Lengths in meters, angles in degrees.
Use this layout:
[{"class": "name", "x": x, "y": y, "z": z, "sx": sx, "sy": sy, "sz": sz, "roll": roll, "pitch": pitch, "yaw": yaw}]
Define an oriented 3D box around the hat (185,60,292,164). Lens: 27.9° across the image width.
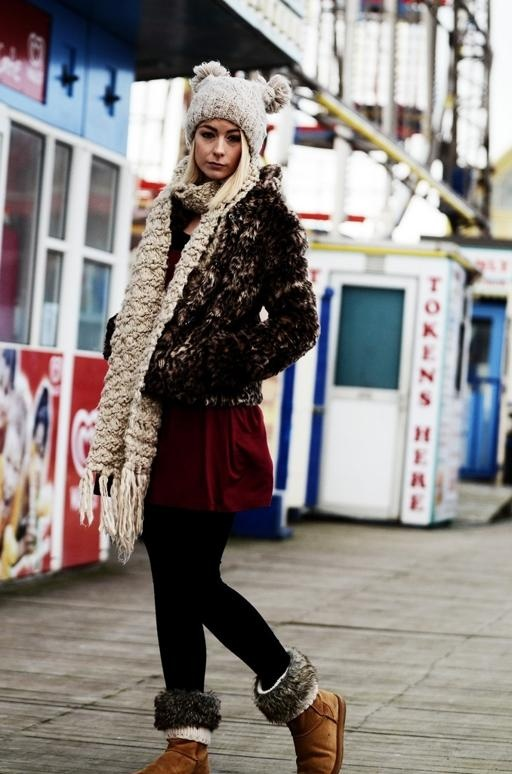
[{"class": "hat", "x": -0.034, "y": -0.531, "z": 2.064, "sx": 0.243, "sy": 0.216, "sz": 0.223, "roll": 7, "pitch": -3, "yaw": 0}]
